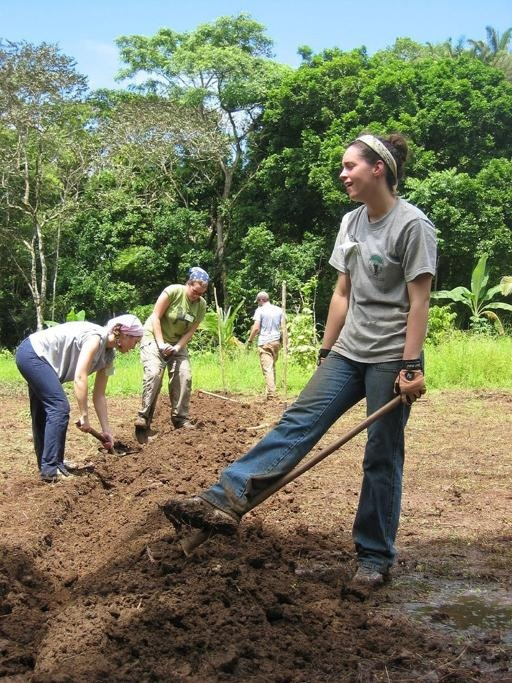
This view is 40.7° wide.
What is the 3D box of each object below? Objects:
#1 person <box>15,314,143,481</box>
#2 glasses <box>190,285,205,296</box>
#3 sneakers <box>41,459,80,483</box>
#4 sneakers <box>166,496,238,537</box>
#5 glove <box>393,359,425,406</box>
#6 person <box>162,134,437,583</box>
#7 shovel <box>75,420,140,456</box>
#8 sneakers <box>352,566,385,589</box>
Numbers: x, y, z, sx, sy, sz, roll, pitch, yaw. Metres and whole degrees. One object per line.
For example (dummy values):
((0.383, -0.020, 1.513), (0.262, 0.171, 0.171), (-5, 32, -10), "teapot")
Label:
((-1.313, 0.431, 5.266), (0.640, 1.225, 0.741), (3, 9, 43), "person")
((-0.563, -0.481, 6.492), (0.084, 0.086, 0.053), (10, 37, -24), "glasses")
((-1.476, 1.017, 5.388), (0.119, 0.130, 0.353), (11, 14, 41), "sneakers")
((-0.250, 0.775, 3.147), (0.298, 0.170, 0.111), (21, 46, 11), "sneakers")
((0.735, 0.194, 3.315), (0.139, 0.225, 0.129), (-2, 7, 9), "glove")
((0.324, 0.114, 3.461), (1.119, 2.303, 0.689), (-5, 7, -13), "person")
((-1.216, 0.817, 5.858), (0.561, 0.133, 0.310), (41, 6, -35), "shovel")
((0.554, 1.158, 3.420), (0.067, 0.083, 0.194), (48, 16, 32), "sneakers")
